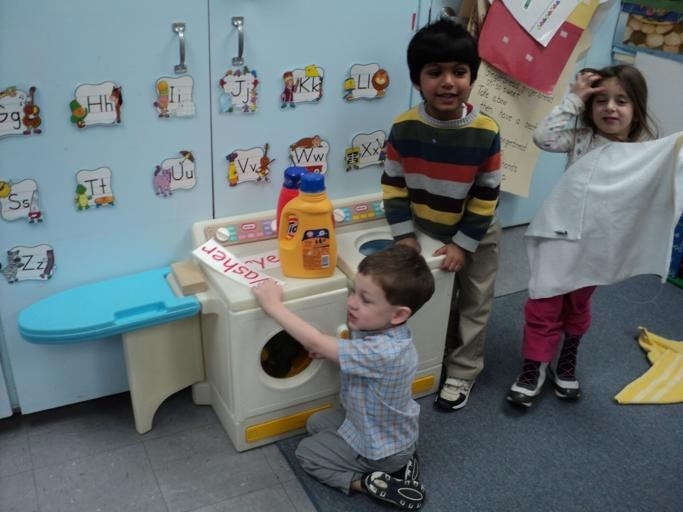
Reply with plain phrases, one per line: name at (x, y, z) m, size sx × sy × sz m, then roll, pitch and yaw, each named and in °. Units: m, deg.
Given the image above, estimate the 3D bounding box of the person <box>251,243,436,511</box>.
person at (0.096, 0.237, 1.976) m, size 0.788 × 1.143 × 0.632 m, roll 5°, pitch 21°, yaw 12°

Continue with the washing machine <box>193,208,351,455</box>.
washing machine at (-0.278, 0.255, 1.894) m, size 0.540 × 0.757 × 0.479 m, roll -6°, pitch 28°, yaw -14°

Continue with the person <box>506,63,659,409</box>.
person at (0.893, -0.049, 1.918) m, size 0.631 × 1.259 × 0.359 m, roll -23°, pitch 34°, yaw -32°

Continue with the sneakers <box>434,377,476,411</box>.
sneakers at (0.451, 0.555, 2.002) m, size 0.072 × 0.094 × 0.206 m, roll 11°, pitch 19°, yaw 30°
